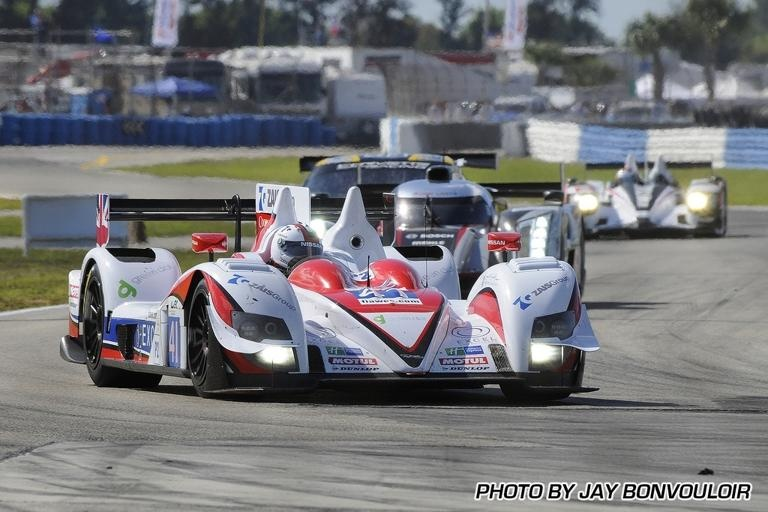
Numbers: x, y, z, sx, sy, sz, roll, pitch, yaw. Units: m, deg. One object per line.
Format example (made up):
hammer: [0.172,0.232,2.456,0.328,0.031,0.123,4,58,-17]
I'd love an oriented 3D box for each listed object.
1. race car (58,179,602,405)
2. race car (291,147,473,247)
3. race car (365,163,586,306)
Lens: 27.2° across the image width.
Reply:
race car: [-0.771,0.470,21.110,6.787,2.716,2.844,0,7,2]
race car: [0.014,-0.909,25.571,2.448,1.192,3.815,-1,3,-4]
race car: [0.942,-0.347,25.975,4.224,1.192,2.550,-20,6,-39]
